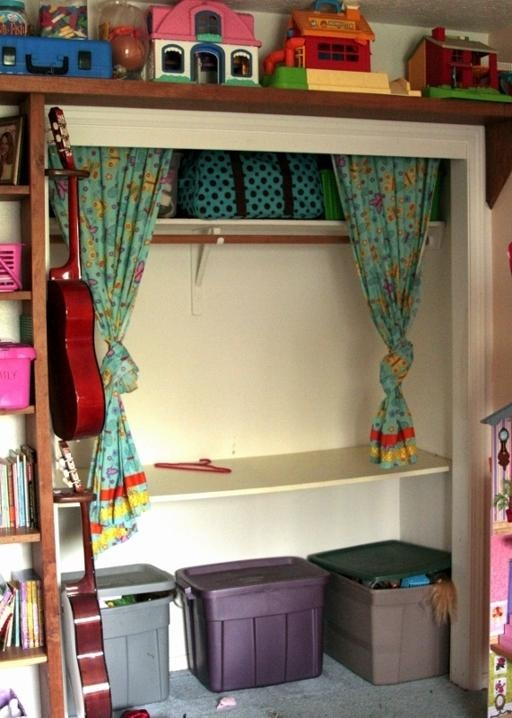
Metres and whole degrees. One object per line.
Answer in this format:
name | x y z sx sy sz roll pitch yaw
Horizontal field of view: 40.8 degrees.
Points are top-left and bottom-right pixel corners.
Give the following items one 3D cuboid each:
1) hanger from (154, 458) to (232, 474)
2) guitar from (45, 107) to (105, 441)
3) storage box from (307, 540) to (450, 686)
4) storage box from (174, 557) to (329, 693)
hanger | -0.267 0.462 2.930 0.298 0.026 0.245 -2 5 -20
guitar | -0.542 -0.234 2.021 0.146 0.970 0.312 -2 6 -16
storage box | 0.570 1.081 3.051 0.484 0.410 0.572 -1 4 -25
storage box | -0.037 1.042 2.968 0.798 0.471 0.447 -2 7 -18
